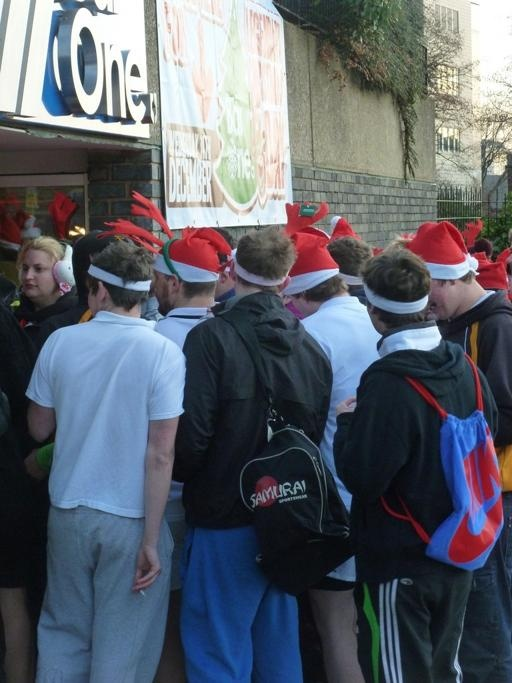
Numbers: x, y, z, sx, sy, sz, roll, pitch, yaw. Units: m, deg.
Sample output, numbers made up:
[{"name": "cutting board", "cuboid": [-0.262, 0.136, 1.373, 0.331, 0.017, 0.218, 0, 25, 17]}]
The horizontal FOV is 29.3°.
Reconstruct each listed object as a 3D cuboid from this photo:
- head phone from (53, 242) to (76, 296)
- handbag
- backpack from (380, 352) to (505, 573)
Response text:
[{"name": "head phone", "cuboid": [-0.911, -0.358, 4.672, 0.070, 0.189, 0.140, -3, -1, 6]}, {"name": "handbag", "cuboid": [0.122, 0.570, 3.413, 0.336, 0.527, 0.265, -30, 19, -7]}, {"name": "backpack", "cuboid": [0.665, 0.432, 3.288, 0.420, 0.669, 0.249, -3, 8, -35]}]
